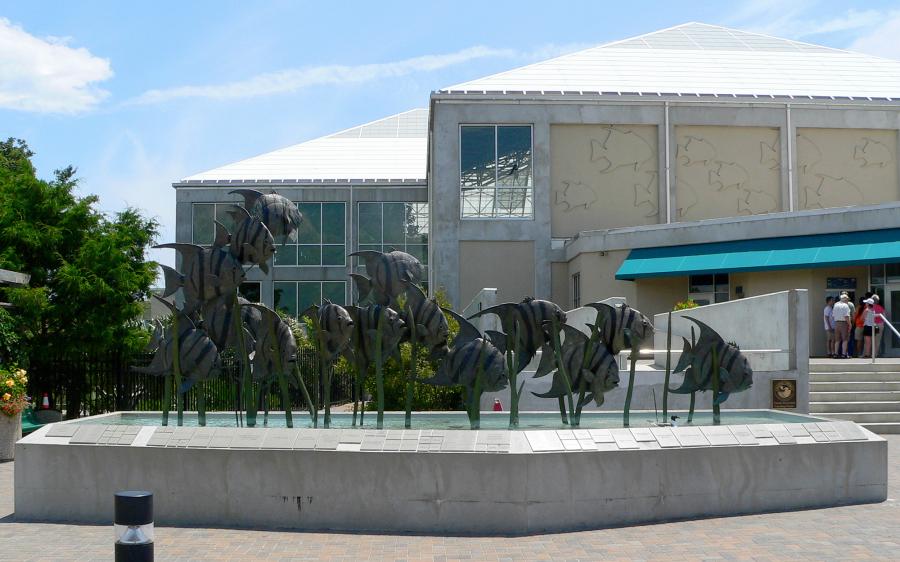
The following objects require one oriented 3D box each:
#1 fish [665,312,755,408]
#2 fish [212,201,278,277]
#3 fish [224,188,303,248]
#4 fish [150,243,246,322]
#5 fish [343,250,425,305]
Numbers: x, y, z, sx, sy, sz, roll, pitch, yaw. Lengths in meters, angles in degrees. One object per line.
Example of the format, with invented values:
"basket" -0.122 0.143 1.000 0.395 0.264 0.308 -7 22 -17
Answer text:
"fish" 6.951 2.145 32.610 2.630 2.144 0.750 15 14 40
"fish" -5.352 -1.092 32.067 2.178 1.779 1.114 8 13 33
"fish" -4.730 -1.782 32.724 2.157 1.454 0.634 -11 1 -44
"fish" -6.308 -0.163 31.693 2.250 1.748 0.710 -5 -7 17
"fish" -1.599 -0.156 32.250 2.316 1.496 1.053 -18 15 -41
